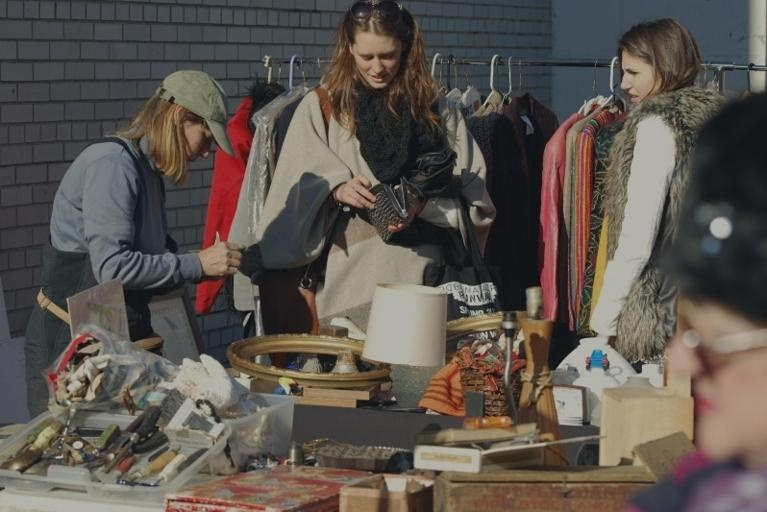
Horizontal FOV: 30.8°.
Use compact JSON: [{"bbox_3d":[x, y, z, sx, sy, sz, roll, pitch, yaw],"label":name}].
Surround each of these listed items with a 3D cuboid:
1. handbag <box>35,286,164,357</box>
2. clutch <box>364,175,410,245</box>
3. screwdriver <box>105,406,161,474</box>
[{"bbox_3d":[-1.214,0.292,6.198,0.731,0.229,0.266,8,8,40],"label":"handbag"},{"bbox_3d":[0.016,-0.215,6.639,0.099,0.243,0.235,-7,-14,-24],"label":"clutch"},{"bbox_3d":[-0.902,0.693,5.465,0.398,0.088,0.116,-49,14,-31],"label":"screwdriver"}]
